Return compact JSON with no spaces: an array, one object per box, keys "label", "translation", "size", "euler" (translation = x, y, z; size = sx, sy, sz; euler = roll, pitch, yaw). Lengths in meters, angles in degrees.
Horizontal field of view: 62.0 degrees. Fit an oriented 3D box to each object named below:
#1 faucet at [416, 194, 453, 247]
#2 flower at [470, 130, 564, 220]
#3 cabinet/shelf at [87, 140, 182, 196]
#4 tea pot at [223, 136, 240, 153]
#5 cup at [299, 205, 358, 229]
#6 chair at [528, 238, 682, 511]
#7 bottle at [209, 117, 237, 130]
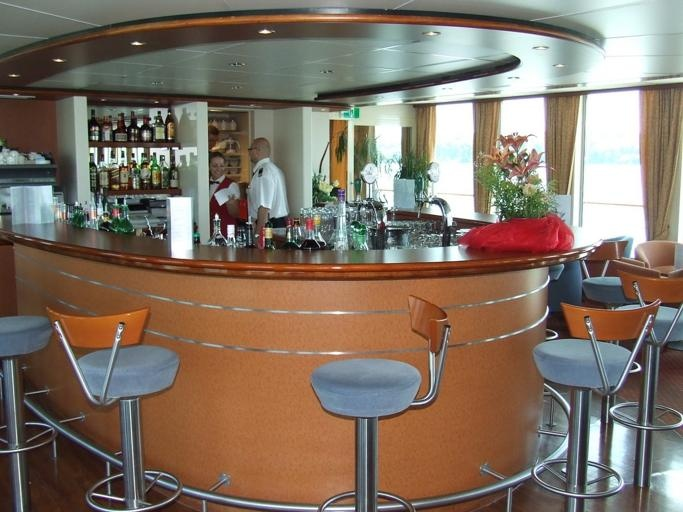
[{"label":"faucet","translation":[0.748,-0.277,4.421],"size":[0.209,0.371,0.631],"euler":[0,7,12]},{"label":"flower","translation":[1.148,-0.519,3.732],"size":[0.505,0.573,0.341],"euler":[0,8,17]},{"label":"cabinet/shelf","translation":[-2.505,-1.061,6.862],"size":[0.408,0.627,1.044],"euler":[5,10,41]},{"label":"tea pot","translation":[-1.654,-1.657,8.535],"size":[0.169,0.209,0.222],"euler":[7,-15,-11]},{"label":"cup","translation":[-0.169,-0.374,5.015],"size":[0.297,0.124,0.388],"euler":[0,-1,-21]},{"label":"chair","translation":[1.414,0.865,3.211],"size":[0.618,1.330,0.857],"euler":[2,9,24]},{"label":"bottle","translation":[-1.748,-1.954,8.434],"size":[0.427,0.208,0.269],"euler":[1,-2,-14]}]
